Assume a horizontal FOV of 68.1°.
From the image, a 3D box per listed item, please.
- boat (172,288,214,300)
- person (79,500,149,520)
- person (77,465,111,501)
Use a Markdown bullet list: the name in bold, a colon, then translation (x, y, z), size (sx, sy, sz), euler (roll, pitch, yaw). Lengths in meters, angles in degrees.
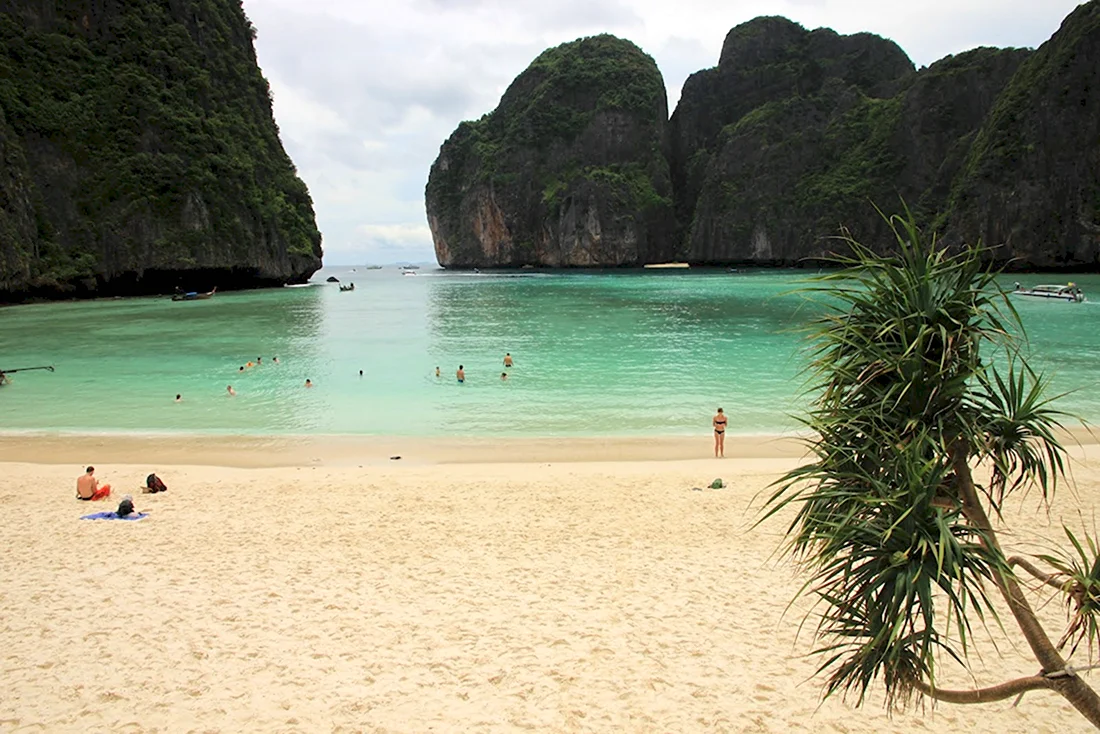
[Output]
- **boat**: translation (-34.948, -7.137, 78.949), size (4.569, 1.091, 1.124), euler (-9, 28, -22)
- **person**: translation (-9.973, 3.244, 18.664), size (1.417, 0.401, 0.656), euler (-3, 8, -8)
- **person**: translation (-11.093, 2.762, 19.611), size (0.741, 0.778, 0.576), euler (-6, 10, -25)
